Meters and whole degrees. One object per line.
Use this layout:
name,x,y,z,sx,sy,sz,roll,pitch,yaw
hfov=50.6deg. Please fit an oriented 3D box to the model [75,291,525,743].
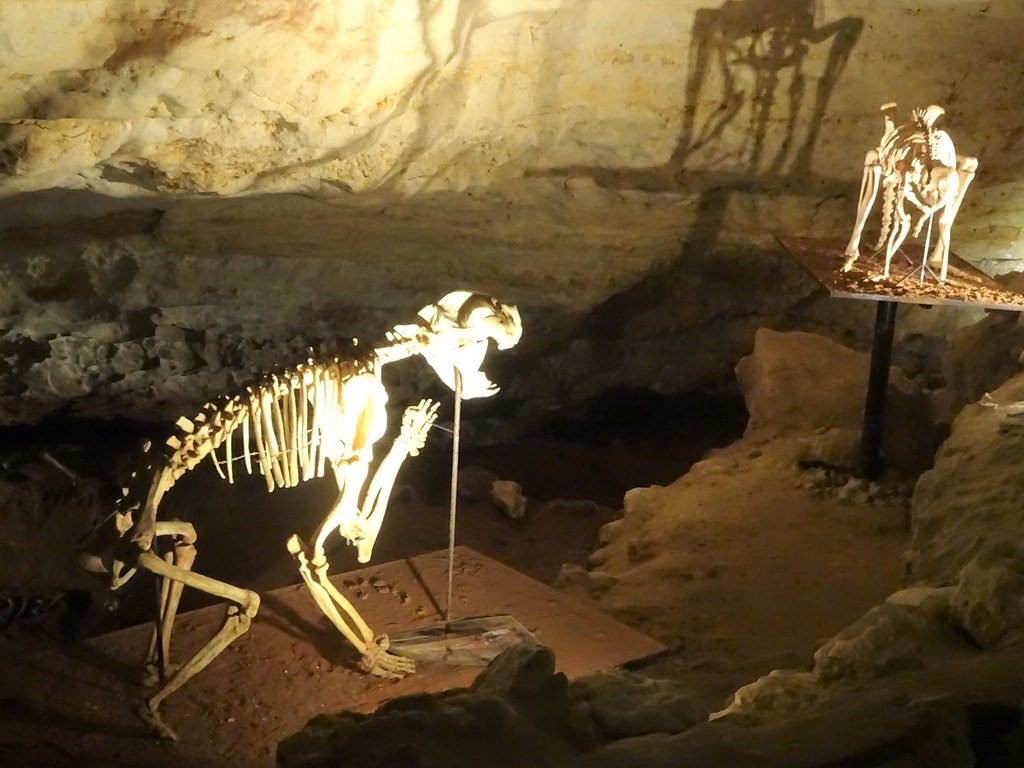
model,-1.176,0.620,5.950,1.175,1.822,3.355,19,23,37

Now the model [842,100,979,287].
model,2.284,-1.115,6.256,0.589,1.035,0.637,3,14,-18
